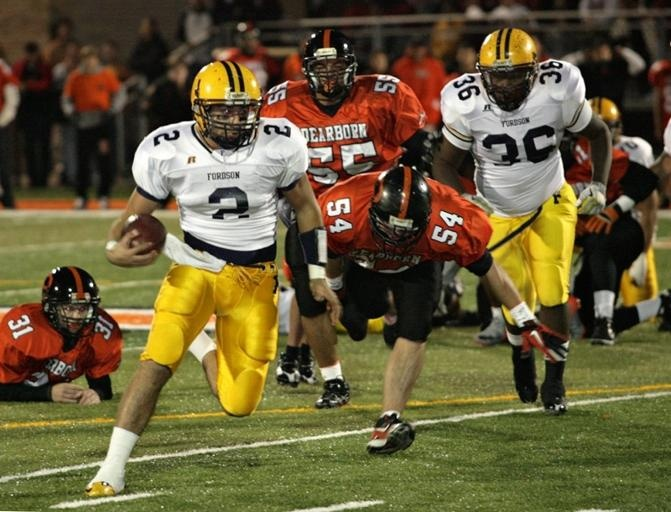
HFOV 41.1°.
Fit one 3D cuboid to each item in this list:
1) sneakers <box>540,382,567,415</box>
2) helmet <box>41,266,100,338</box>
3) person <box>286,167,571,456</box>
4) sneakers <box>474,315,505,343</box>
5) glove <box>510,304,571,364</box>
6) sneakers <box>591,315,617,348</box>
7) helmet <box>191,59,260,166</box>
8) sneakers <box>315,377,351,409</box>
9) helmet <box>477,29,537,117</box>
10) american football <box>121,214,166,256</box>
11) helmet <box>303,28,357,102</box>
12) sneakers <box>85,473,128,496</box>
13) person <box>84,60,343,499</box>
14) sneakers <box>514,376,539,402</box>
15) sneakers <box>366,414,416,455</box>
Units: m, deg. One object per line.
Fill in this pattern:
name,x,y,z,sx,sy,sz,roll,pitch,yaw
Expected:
sneakers,1.082,0.702,4.396,0.097,0.067,0.168,6,27,-1
helmet,-1.332,0.218,4.536,0.297,0.292,0.385,0,12,-36
person,0.350,0.118,4.327,0.976,1.016,1.487,3,10,-17
sneakers,1.012,0.515,6.001,0.319,0.186,0.099,-3,3,-13
glove,0.986,0.387,4.302,0.137,0.256,0.359,13,-24,27
sneakers,1.770,0.502,5.865,0.209,0.228,0.548,0,-3,19
helmet,-0.456,-0.618,3.811,0.299,0.431,0.230,-1,9,-9
sneakers,-0.046,0.705,4.533,0.220,0.128,0.104,-4,0,-27
helmet,0.884,-0.988,4.624,0.328,0.359,0.390,0,26,13
american football,-0.778,-0.093,3.714,0.170,0.153,0.140,-4,9,-28
helmet,-0.017,-1.074,4.868,0.307,0.335,0.381,-2,25,9
sneakers,-0.859,0.860,3.349,0.122,0.040,0.065,1,-1,-41
person,-0.564,0.012,3.740,1.091,1.661,0.499,-7,11,-39
sneakers,0.980,0.687,4.588,0.079,0.132,0.062,-1,11,13
sneakers,0.232,0.751,3.729,0.106,0.123,0.273,22,-6,4
